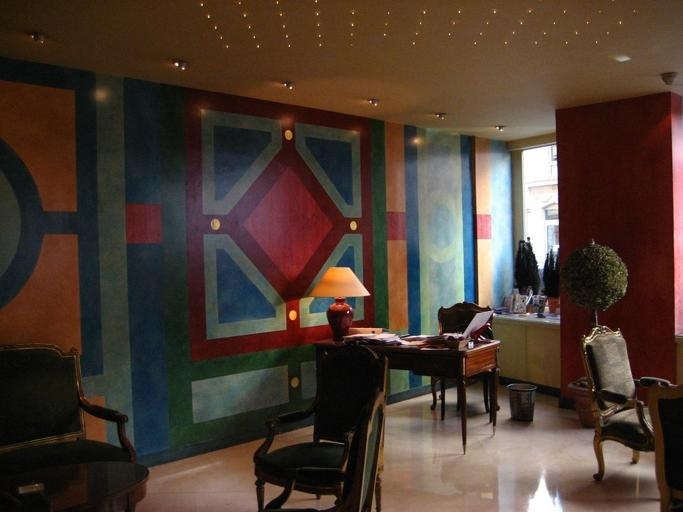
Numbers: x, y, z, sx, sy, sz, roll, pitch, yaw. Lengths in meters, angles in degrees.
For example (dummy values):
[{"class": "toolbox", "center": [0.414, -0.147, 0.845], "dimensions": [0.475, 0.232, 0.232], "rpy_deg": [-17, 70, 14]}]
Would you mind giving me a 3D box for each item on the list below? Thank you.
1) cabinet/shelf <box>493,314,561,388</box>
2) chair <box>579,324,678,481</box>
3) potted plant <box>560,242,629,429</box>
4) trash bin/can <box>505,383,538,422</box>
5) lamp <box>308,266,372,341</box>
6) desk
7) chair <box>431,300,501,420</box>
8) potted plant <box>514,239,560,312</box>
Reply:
[{"class": "cabinet/shelf", "center": [2.262, 1.143, 6.936], "dimensions": [0.342, 0.909, 0.870], "rpy_deg": [3, -5, -41]}, {"class": "chair", "center": [2.465, 1.237, 4.741], "dimensions": [0.778, 1.216, 0.848], "rpy_deg": [-3, 1, -10]}, {"class": "potted plant", "center": [2.577, 0.331, 5.837], "dimensions": [0.582, 0.931, 0.637], "rpy_deg": [-1, 14, 32]}, {"class": "trash bin/can", "center": [1.931, 1.546, 6.148], "dimensions": [0.267, 0.311, 0.286], "rpy_deg": [16, -22, -17]}, {"class": "lamp", "center": [-0.018, 0.494, 5.986], "dimensions": [0.598, 0.775, 0.637], "rpy_deg": [0, -2, -15]}, {"class": "desk", "center": [0.736, 1.379, 6.015], "dimensions": [0.858, 0.971, 1.709], "rpy_deg": [-1, -4, -45]}, {"class": "chair", "center": [1.325, 1.069, 6.223], "dimensions": [0.621, 1.225, 0.778], "rpy_deg": [1, -4, 17]}, {"class": "potted plant", "center": [2.503, 0.252, 7.333], "dimensions": [0.479, 0.898, 0.832], "rpy_deg": [-1, 5, -1]}]
